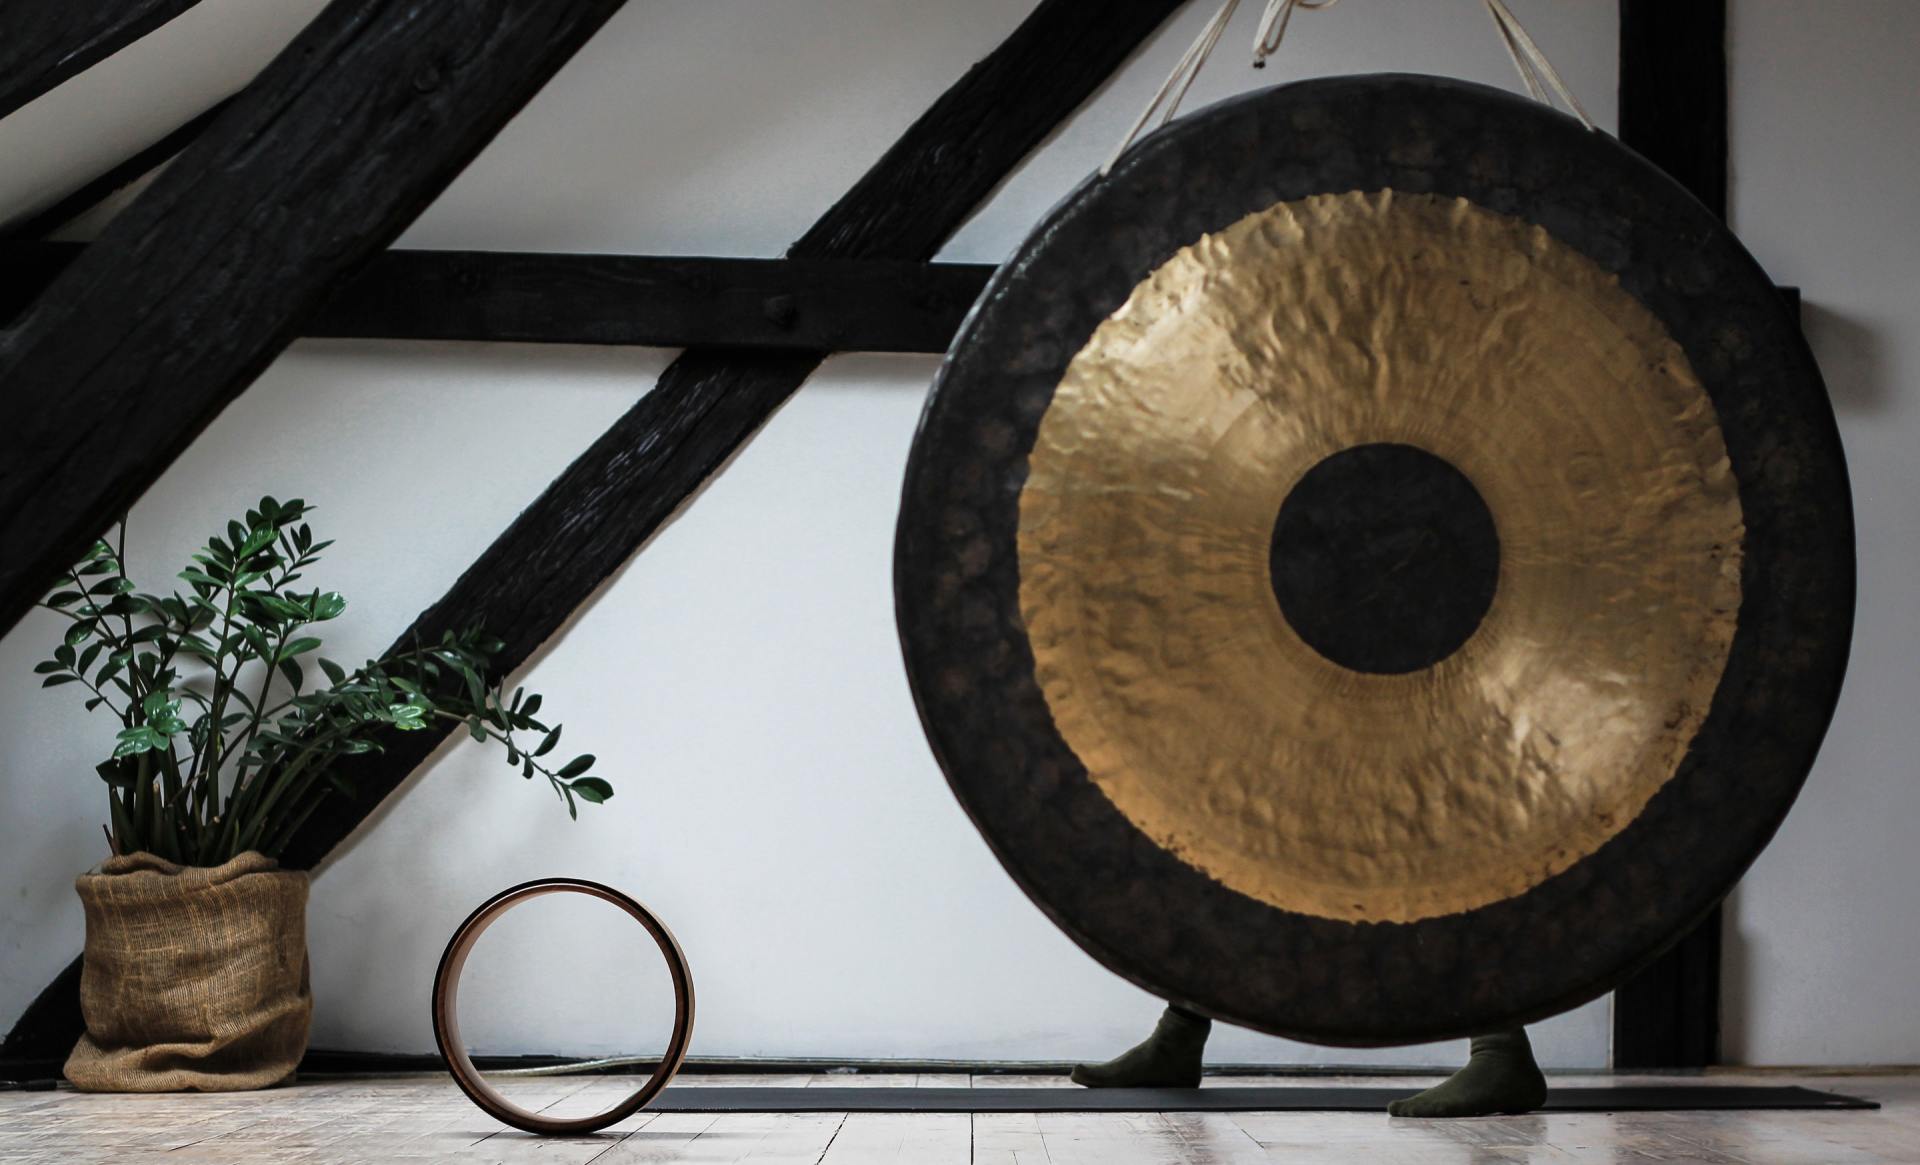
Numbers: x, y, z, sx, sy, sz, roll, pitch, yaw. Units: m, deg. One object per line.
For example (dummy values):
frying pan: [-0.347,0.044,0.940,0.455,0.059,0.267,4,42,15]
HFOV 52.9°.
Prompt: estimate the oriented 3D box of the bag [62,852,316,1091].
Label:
bag: [-1.775,0.898,4.521,0.529,0.511,0.524,3,-3,-28]

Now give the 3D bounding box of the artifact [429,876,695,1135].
artifact: [-0.872,0.882,4.036,0.533,0.540,0.131,1,-3,3]
